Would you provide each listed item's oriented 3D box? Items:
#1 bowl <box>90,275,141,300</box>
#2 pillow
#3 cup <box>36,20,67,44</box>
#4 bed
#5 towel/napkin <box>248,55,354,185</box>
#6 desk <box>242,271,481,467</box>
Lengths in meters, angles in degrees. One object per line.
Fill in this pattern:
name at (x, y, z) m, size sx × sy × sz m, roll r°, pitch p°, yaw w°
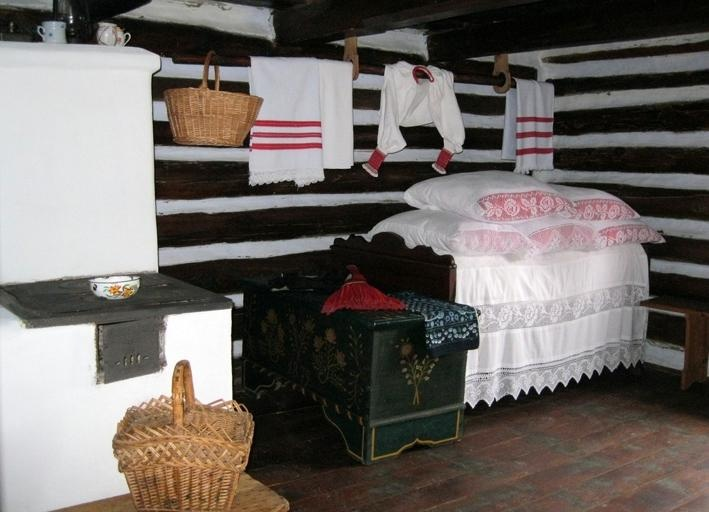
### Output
bowl at (-0.968, 0.129, 2.364) m, size 0.150 × 0.073 × 0.131 m, roll 5°, pitch 12°, yaw 17°
pillow at (1.072, -0.299, 4.066) m, size 1.766 × 0.483 × 0.770 m, roll -4°, pitch 13°, yaw -23°
cup at (-1.342, -0.994, 2.584) m, size 0.118 × 0.107 × 0.101 m, roll -4°, pitch 14°, yaw -24°
bed at (1.242, 0.353, 4.149) m, size 1.591 × 0.615 × 1.492 m, roll -6°, pitch 14°, yaw -30°
towel/napkin at (-0.367, -0.889, 3.737) m, size 1.003 × 0.883 × 0.203 m, roll -4°, pitch 14°, yaw -29°
desk at (-0.041, 0.671, 3.759) m, size 0.830 × 0.653 × 1.417 m, roll 0°, pitch 5°, yaw -38°
